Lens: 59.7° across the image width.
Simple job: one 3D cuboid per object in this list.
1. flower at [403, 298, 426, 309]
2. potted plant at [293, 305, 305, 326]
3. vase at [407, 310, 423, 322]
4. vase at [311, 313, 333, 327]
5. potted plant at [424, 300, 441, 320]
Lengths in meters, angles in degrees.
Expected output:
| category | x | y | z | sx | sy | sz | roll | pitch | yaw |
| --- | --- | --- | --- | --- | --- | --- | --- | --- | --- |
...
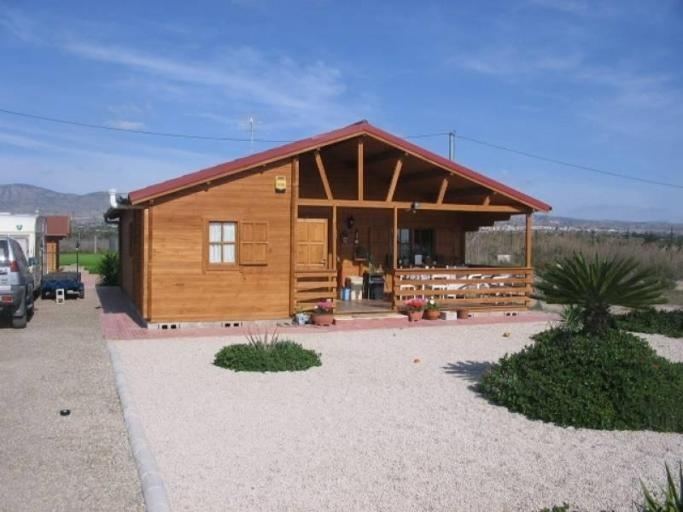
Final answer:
| category | x | y | z | sx | sy | sz | roll | pitch | yaw |
| --- | --- | --- | --- | --- | --- | --- | --- | --- | --- |
| flower | 1.944 | 1.249 | 16.066 | 0.322 | 0.153 | 0.322 | -2 | 3 | -45 |
| potted plant | -1.056 | 1.521 | 14.976 | 0.288 | 0.313 | 0.457 | -2 | 8 | -18 |
| vase | 1.968 | 1.571 | 15.893 | 0.299 | 0.213 | 0.300 | 1 | -3 | -40 |
| vase | -0.469 | 1.549 | 14.992 | 0.555 | 0.329 | 0.360 | 0 | 7 | 0 |
| potted plant | 2.474 | 1.444 | 16.236 | 0.484 | 0.500 | 0.449 | 1 | -2 | -2 |
